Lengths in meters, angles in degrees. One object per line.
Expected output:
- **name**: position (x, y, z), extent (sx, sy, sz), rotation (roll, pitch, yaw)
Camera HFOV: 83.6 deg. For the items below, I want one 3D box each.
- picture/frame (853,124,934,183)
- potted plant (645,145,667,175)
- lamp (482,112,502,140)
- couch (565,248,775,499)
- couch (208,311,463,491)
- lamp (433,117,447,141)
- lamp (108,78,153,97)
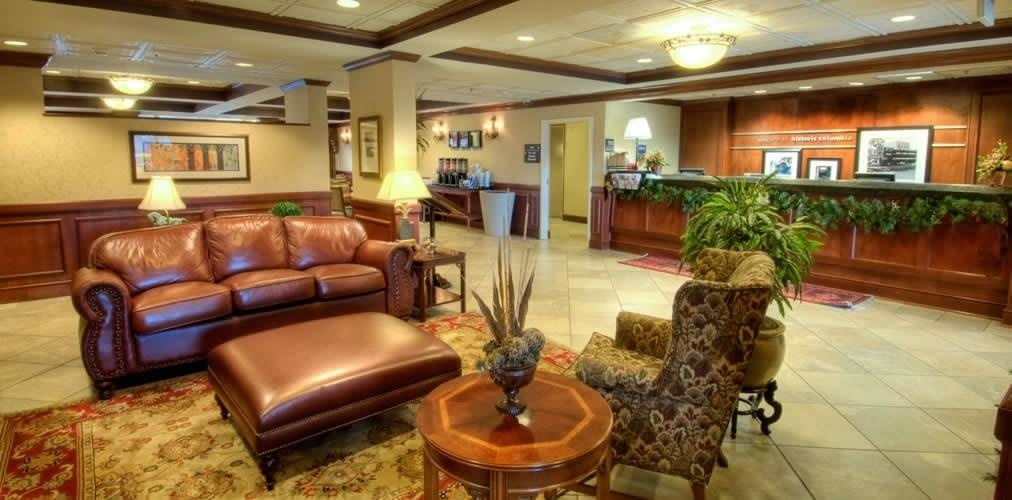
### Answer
- **picture/frame**: position (7.610, -1.910, 11.180), extent (1.312, 1.026, 0.255), rotation (6, 16, 26)
- **potted plant**: position (3.025, -1.782, 11.543), extent (0.536, 0.433, 0.491), rotation (1, 0, 11)
- **lamp**: position (-0.352, -3.077, 14.069), extent (0.672, 0.654, 0.153), rotation (11, 18, 40)
- **couch**: position (2.367, 1.101, 7.280), extent (3.070, 3.011, 2.558), rotation (5, 14, 25)
- **couch**: position (-2.019, 1.413, 6.424), extent (2.695, 0.995, 1.958), rotation (-12, 24, -32)
- **lamp**: position (-1.803, -3.305, 15.435), extent (0.737, 0.597, 0.228), rotation (8, 13, 42)
- **lamp**: position (-7.317, -3.226, 10.985), extent (0.508, 0.277, 0.855), rotation (-9, 15, -36)
